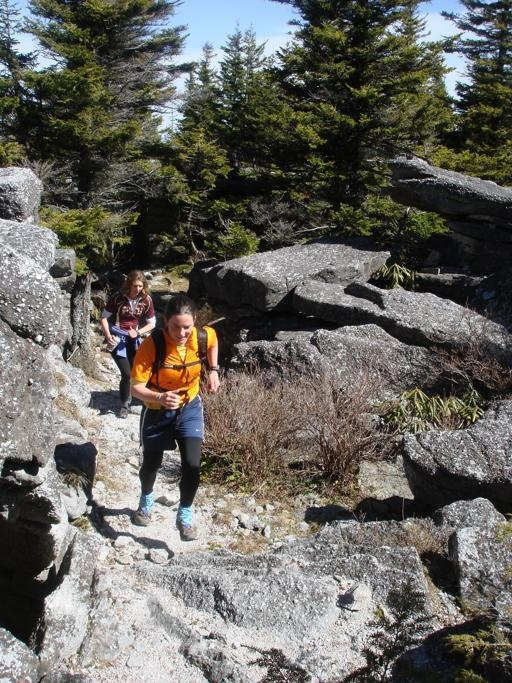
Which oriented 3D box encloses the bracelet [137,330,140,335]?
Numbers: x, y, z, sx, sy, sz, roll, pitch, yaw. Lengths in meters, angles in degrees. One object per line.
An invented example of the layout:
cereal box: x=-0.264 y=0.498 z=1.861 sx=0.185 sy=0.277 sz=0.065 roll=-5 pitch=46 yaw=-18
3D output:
bracelet: x=-1.399 y=-0.110 z=6.736 sx=0.036 sy=0.046 sz=0.047 roll=-3 pitch=6 yaw=3

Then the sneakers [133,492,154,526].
sneakers: x=-0.912 y=1.368 z=4.685 sx=0.137 sy=0.143 sz=0.346 roll=7 pitch=7 yaw=-8

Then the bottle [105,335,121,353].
bottle: x=-1.651 y=0.036 z=6.592 sx=0.143 sy=0.222 sz=0.188 roll=2 pitch=16 yaw=-2

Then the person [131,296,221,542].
person: x=-0.639 y=0.660 z=4.311 sx=0.648 sy=2.084 sz=0.771 roll=2 pitch=16 yaw=-1
